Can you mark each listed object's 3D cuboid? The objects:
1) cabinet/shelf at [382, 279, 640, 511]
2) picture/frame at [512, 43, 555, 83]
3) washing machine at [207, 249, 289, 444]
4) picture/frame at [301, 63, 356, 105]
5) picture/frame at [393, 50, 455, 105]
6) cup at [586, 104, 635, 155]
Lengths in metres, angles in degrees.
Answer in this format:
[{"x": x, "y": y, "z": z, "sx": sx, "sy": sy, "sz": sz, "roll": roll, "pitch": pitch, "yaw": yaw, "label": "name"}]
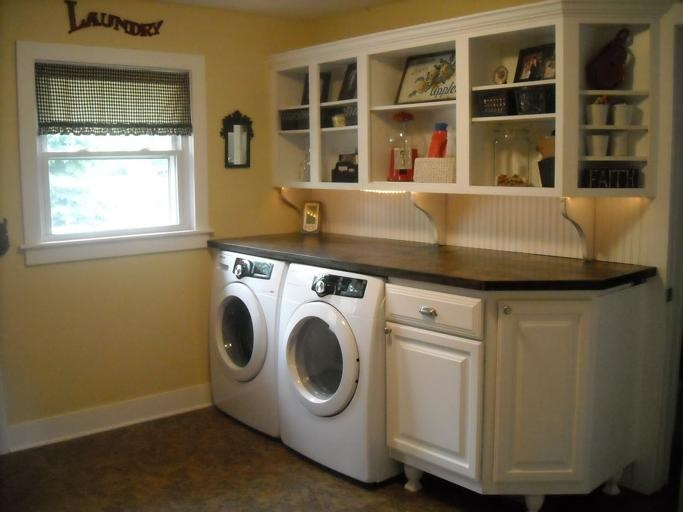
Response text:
[{"x": 0.823, "y": 0.467, "z": 3.032, "sx": 1.116, "sy": 1.298, "sz": 1.141, "roll": -1, "pitch": 3, "yaw": -37, "label": "cabinet/shelf"}, {"x": 1.009, "y": -1.015, "z": 2.841, "sx": 0.028, "sy": 0.284, "sz": 0.274, "roll": 9, "pitch": -9, "yaw": -33, "label": "picture/frame"}, {"x": -0.535, "y": 0.523, "z": 3.775, "sx": 0.647, "sy": 1.163, "sz": 0.634, "roll": 11, "pitch": 9, "yaw": 26, "label": "washing machine"}, {"x": -0.034, "y": -1.157, "z": 3.662, "sx": 0.384, "sy": 0.270, "sz": 0.079, "roll": 1, "pitch": -2, "yaw": 33, "label": "picture/frame"}, {"x": 0.503, "y": -1.069, "z": 3.236, "sx": 0.017, "sy": 0.266, "sz": 0.357, "roll": 4, "pitch": 0, "yaw": -39, "label": "picture/frame"}, {"x": 1.331, "y": -0.642, "z": 2.709, "sx": 0.232, "sy": 0.285, "sz": 0.172, "roll": 1, "pitch": 2, "yaw": 7, "label": "cup"}]
